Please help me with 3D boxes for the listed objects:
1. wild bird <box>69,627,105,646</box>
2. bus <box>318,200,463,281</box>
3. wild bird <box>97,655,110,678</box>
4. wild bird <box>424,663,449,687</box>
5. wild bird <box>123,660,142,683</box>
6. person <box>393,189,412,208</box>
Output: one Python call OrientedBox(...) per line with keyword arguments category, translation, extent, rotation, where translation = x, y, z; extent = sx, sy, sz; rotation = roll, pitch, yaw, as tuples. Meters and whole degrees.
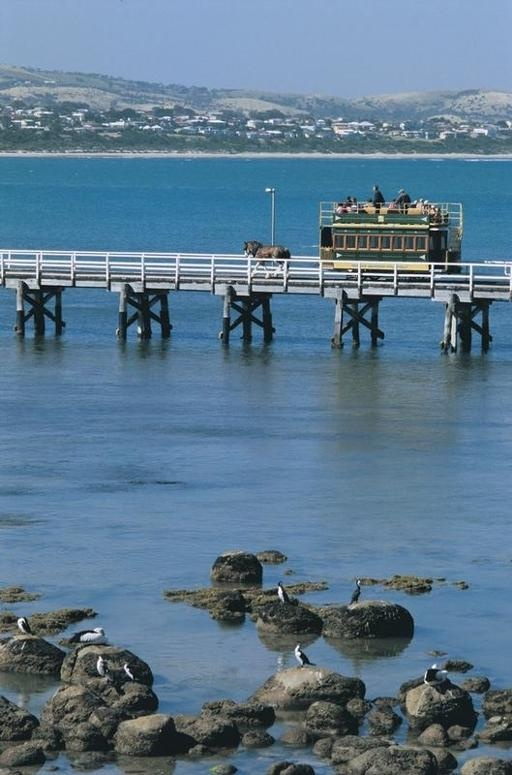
OrientedBox(category="wild bird", translation=(-2.470, 3.699, 33.387), extent=(0.537, 0.399, 0.236), rotation=(6, 0, -2))
OrientedBox(category="bus", translation=(3.441, -3.971, 60.878), extent=(3.069, 2.102, 2.067), rotation=(3, 5, 20))
OrientedBox(category="wild bird", translation=(-2.166, 4.005, 32.161), extent=(0.108, 0.350, 0.133), rotation=(1, -26, -39))
OrientedBox(category="wild bird", translation=(2.524, 4.054, 31.861), extent=(0.339, 0.226, 0.397), rotation=(-1, 6, 1))
OrientedBox(category="wild bird", translation=(-1.785, 4.055, 32.129), extent=(0.251, 0.220, 0.262), rotation=(1, 6, 14))
OrientedBox(category="person", translation=(3.879, -4.910, 60.198), extent=(0.425, 0.488, 1.011), rotation=(0, 6, 4))
